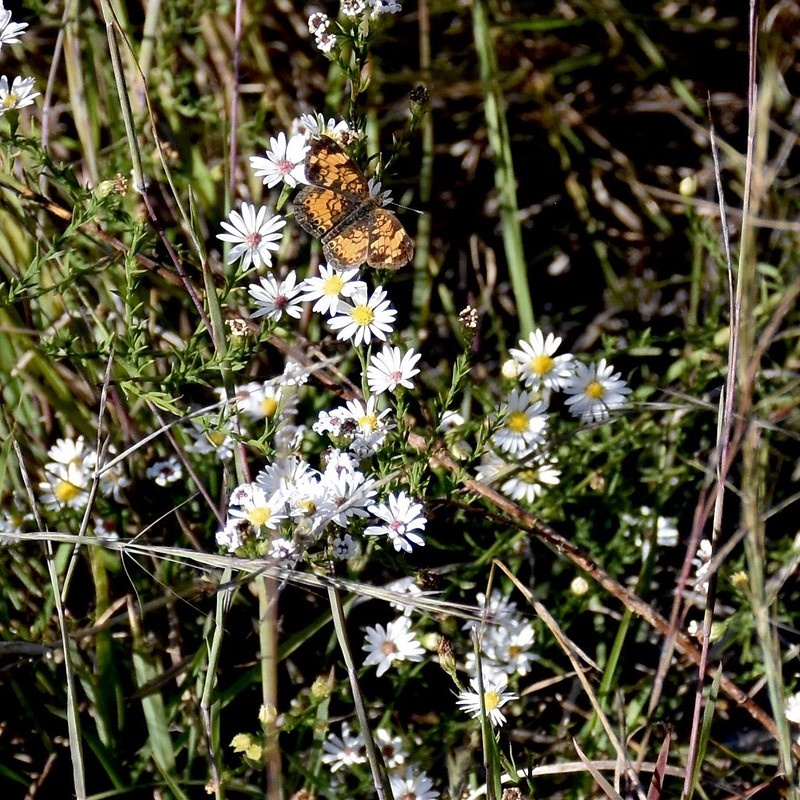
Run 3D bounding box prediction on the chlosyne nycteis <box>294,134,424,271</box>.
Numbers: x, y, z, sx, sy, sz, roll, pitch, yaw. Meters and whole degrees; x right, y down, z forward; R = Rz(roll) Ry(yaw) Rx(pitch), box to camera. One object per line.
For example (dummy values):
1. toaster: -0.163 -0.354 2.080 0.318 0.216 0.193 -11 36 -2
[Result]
1. chlosyne nycteis: -0.110 -0.400 2.424 0.177 0.341 0.089 -32 29 16
